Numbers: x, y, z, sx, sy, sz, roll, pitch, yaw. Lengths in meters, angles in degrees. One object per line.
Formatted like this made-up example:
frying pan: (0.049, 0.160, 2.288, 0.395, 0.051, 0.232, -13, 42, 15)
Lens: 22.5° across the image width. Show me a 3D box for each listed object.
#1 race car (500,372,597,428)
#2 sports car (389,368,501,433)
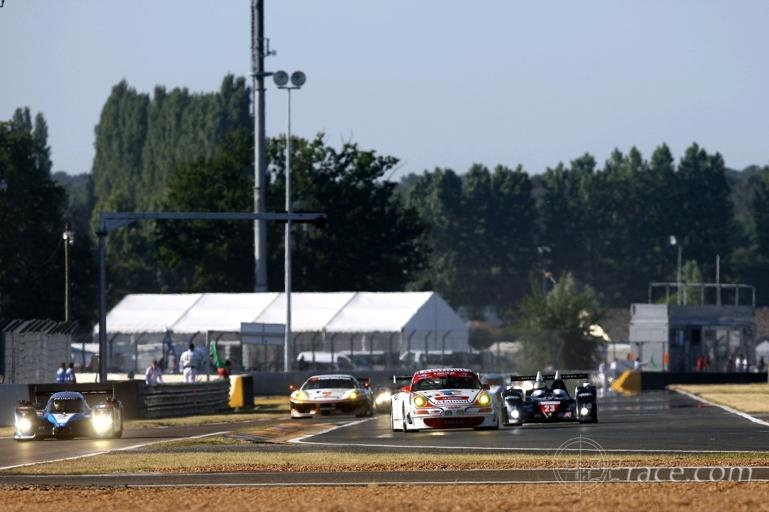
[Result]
race car: (9.830, 8.433, 114.677, 5.205, 3.071, 3.681, -2, -5, 11)
sports car: (3.430, 8.335, 111.863, 5.810, 3.546, 1.732, -2, -5, 12)
